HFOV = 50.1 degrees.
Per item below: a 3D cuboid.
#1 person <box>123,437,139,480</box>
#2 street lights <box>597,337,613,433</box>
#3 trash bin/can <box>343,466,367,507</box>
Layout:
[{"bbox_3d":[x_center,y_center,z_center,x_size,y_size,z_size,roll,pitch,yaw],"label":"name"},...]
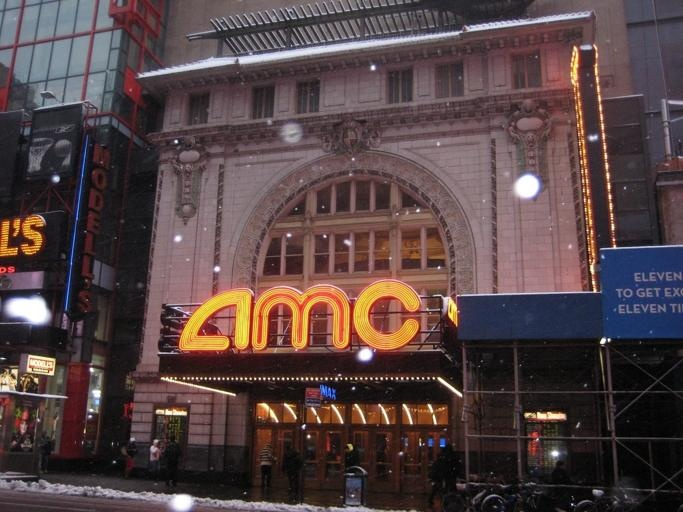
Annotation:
[{"bbox_3d":[-10.364,9.832,35.843,0.627,1.923,0.959,5,-19,-15],"label":"person"},{"bbox_3d":[9.432,4.779,26.034,0.331,3.798,0.360,-17,-49,31],"label":"street lights"},{"bbox_3d":[0.528,8.703,27.745,0.788,1.445,0.639,1,-18,-1],"label":"trash bin/can"}]
